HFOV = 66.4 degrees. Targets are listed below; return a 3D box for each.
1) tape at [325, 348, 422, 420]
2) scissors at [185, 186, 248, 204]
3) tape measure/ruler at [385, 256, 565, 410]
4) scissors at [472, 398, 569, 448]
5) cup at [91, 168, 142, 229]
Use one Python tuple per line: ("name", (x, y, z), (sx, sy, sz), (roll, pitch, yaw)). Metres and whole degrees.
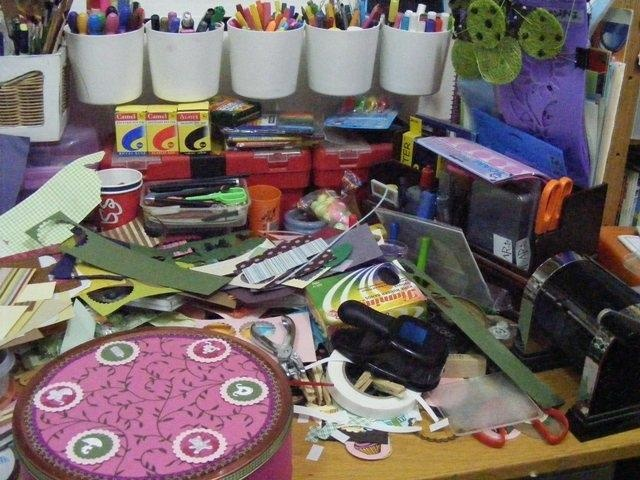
("tape", (0.080, 0.207, 0.691), (0.145, 0.034, 0.098), (4, 26, -8))
("scissors", (-0.193, -0.089, 0.959), (0.091, 0.016, 0.043), (-4, 33, -12))
("tape measure/ruler", (0.196, 0.129, 0.843), (0.085, 0.015, 0.448), (-25, 48, -31))
("scissors", (0.280, 0.261, 0.659), (0.143, 0.025, 0.040), (-9, 26, -14))
("cup", (-0.391, -0.082, 1.022), (0.118, 0.113, 0.128), (3, 30, -2))
